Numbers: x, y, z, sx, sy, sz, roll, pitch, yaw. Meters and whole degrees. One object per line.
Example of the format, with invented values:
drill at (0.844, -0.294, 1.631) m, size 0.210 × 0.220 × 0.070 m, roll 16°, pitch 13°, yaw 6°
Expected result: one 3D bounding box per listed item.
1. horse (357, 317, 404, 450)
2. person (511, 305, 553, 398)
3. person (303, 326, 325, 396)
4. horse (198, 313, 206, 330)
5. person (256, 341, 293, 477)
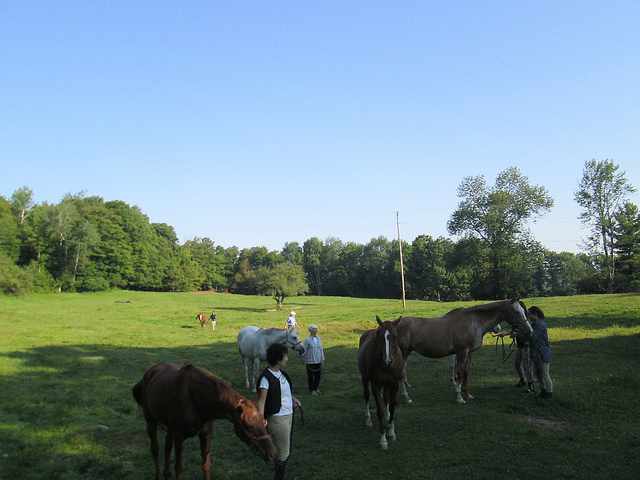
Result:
horse at (2.056, 4.699, 17.698) m, size 1.467 × 3.980 × 2.785 m, roll -2°, pitch -5°, yaw 4°
person at (8.032, 4.150, 19.332) m, size 1.022 × 3.225 × 0.867 m, roll -3°, pitch -5°, yaw 26°
person at (-0.284, 4.905, 21.435) m, size 0.791 × 2.719 × 1.502 m, roll -1°, pitch -5°, yaw -2°
horse at (-8.889, 6.143, 39.200) m, size 0.426 × 1.081 × 2.113 m, roll 0°, pitch -6°, yaw -17°
person at (-1.210, 4.619, 14.206) m, size 0.937 × 3.512 × 0.373 m, roll 0°, pitch -5°, yaw -12°
